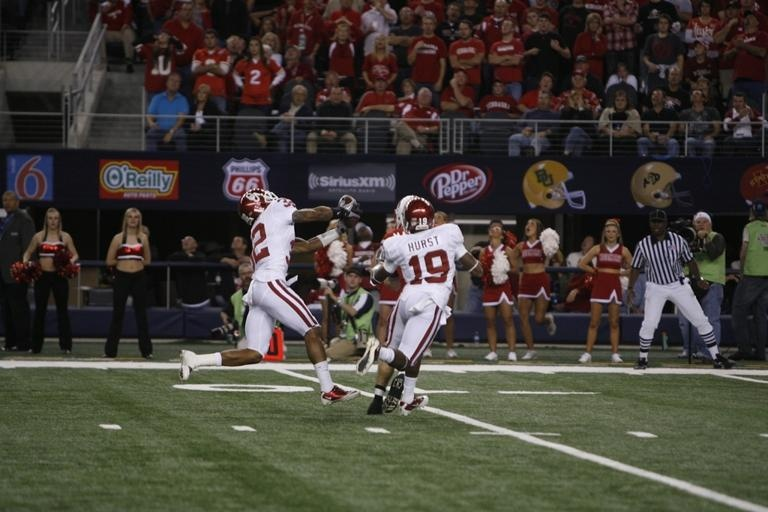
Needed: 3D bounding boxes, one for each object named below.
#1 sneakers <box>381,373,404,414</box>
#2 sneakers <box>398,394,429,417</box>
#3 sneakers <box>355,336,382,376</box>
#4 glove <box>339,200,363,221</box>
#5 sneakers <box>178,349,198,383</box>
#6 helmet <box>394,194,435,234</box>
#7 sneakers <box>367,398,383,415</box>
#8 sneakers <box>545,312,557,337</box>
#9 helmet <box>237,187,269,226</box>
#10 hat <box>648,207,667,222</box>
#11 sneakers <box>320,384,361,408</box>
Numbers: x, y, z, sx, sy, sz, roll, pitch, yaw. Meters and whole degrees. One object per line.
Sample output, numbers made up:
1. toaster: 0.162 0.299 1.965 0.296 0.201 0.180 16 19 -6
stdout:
1. sneakers: 0.141 1.950 17.016 0.213 0.628 0.243 13 -3 -8
2. sneakers: 0.425 2.122 17.114 0.515 0.219 0.171 -21 20 -27
3. sneakers: -0.200 1.379 16.573 0.255 0.605 0.218 25 6 -36
4. glove: -0.430 -0.687 17.353 0.235 0.335 0.477 0 -4 29
5. sneakers: -2.696 1.537 16.769 0.258 0.406 0.210 13 -9 6
6. helmet: 0.441 -0.625 17.300 0.439 0.467 0.562 -2 11 -3
7. sneakers: -0.107 2.112 16.977 0.216 0.262 0.109 2 -4 -6
8. sneakers: 3.256 1.329 23.548 0.243 0.566 0.188 -15 9 -40
9. helmet: -1.874 -0.738 17.460 0.508 0.401 0.402 -12 -19 -38
10. hat: 4.707 -0.673 20.822 0.248 0.253 0.308 0 -4 21
11. sneakers: -0.632 1.940 16.932 0.615 0.275 0.220 -11 10 -5
